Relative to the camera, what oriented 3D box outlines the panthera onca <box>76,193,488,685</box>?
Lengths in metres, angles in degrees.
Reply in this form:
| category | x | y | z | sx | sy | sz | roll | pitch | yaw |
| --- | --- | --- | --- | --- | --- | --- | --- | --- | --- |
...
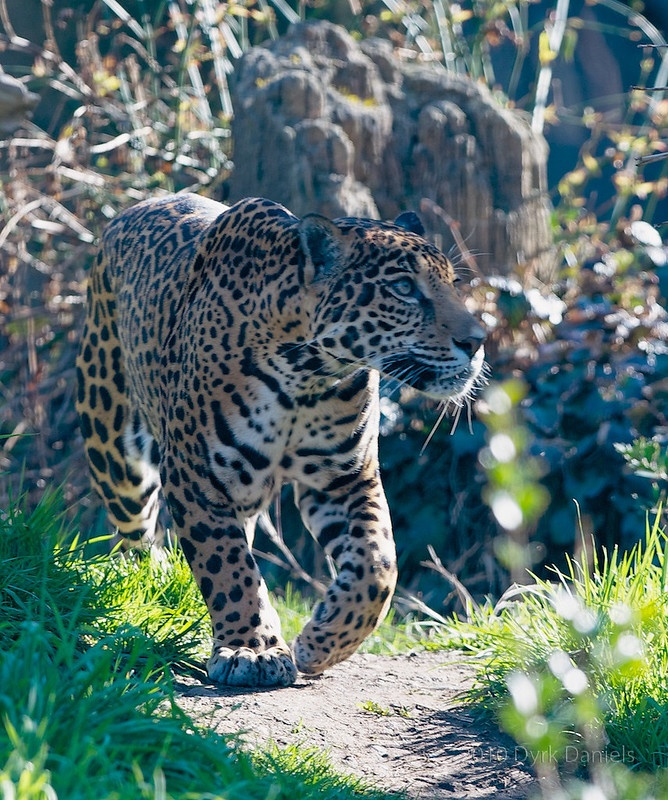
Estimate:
| category | x | y | z | sx | sy | sz | roll | pitch | yaw |
| --- | --- | --- | --- | --- | --- | --- | --- | --- | --- |
| panthera onca | -0.239 | 0.043 | 3.670 | 0.950 | 1.499 | 1.555 | -9 | 15 | -22 |
